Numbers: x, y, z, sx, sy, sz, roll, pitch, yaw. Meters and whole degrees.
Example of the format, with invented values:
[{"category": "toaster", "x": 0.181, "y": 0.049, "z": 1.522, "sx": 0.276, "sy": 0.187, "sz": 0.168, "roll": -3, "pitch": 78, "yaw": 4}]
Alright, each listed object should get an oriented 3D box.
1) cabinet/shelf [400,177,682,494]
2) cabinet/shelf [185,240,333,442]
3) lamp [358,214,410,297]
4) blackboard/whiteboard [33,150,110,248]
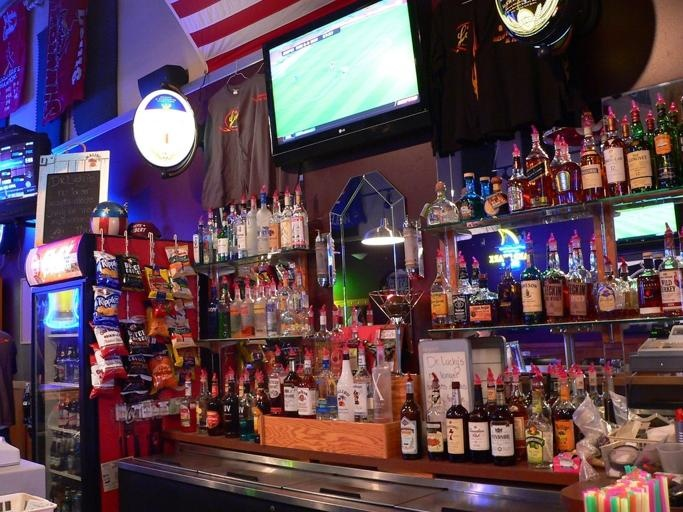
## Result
[{"category": "cabinet/shelf", "x": 1.072, "y": 0.433, "z": 3.218, "sx": 1.478, "sy": 1.426, "sz": 0.479, "roll": -4, "pitch": -4, "yaw": 37}, {"category": "cabinet/shelf", "x": -0.657, "y": 0.379, "z": 4.496, "sx": 0.729, "sy": 0.776, "sz": 0.254, "roll": -10, "pitch": 3, "yaw": -1}, {"category": "lamp", "x": 0.329, "y": -0.035, "z": 4.161, "sx": 0.240, "sy": 0.450, "sz": 0.242, "roll": -9, "pitch": 6, "yaw": 23}, {"category": "blackboard/whiteboard", "x": -2.293, "y": -0.469, "z": 5.351, "sx": 0.788, "sy": 1.188, "sz": 0.119, "roll": -2, "pitch": -10, "yaw": 7}]
